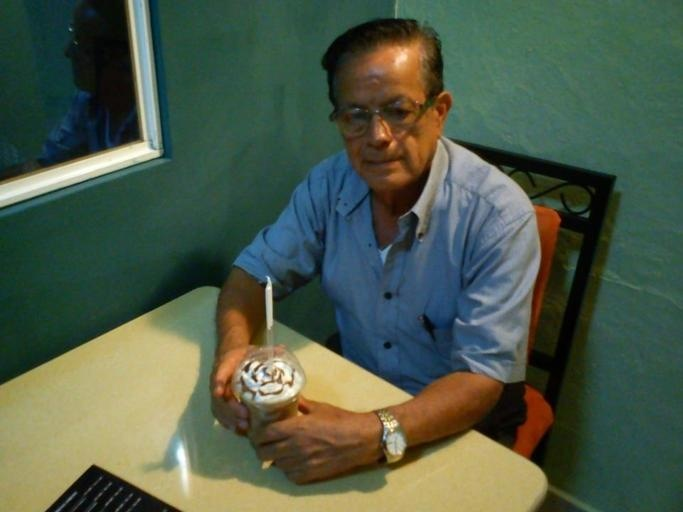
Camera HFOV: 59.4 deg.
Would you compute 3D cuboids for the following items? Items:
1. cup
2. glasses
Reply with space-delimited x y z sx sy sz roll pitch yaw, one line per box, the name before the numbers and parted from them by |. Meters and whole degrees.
cup | -0.151 0.341 1.440 0.180 0.252 0.189 0 45 0
glasses | 0.117 -0.389 1.688 0.295 0.113 0.097 3 22 2
